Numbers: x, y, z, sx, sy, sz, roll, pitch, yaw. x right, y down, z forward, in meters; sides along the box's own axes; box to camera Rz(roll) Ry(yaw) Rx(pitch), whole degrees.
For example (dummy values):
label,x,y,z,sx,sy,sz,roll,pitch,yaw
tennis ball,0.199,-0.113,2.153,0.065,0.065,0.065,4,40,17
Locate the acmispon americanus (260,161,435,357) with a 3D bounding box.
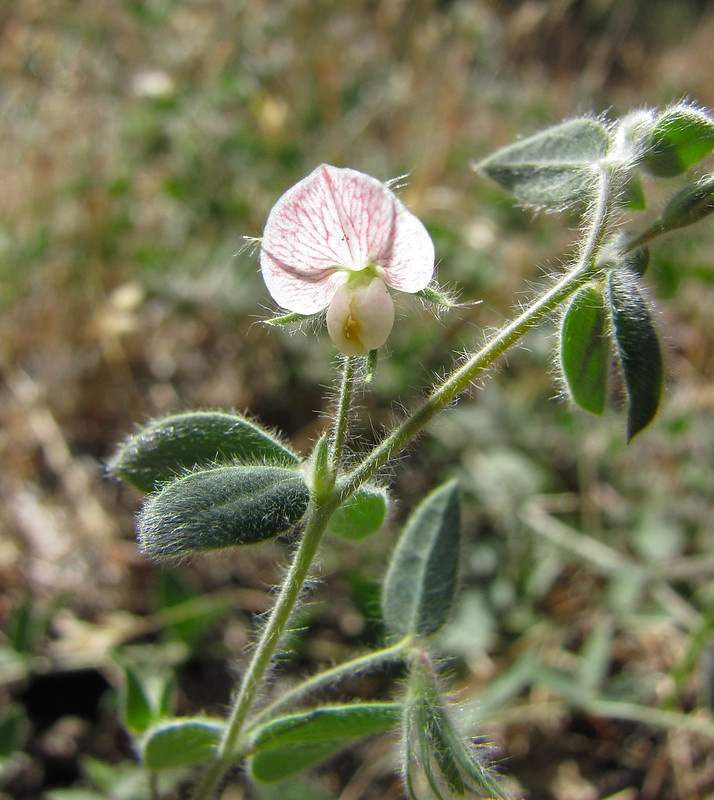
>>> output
label,x,y,z,sx,sy,sz,roll,pitch,yaw
acmispon americanus,-0.012,-0.213,1.418,0.241,0.152,0.287,-44,81,-3
